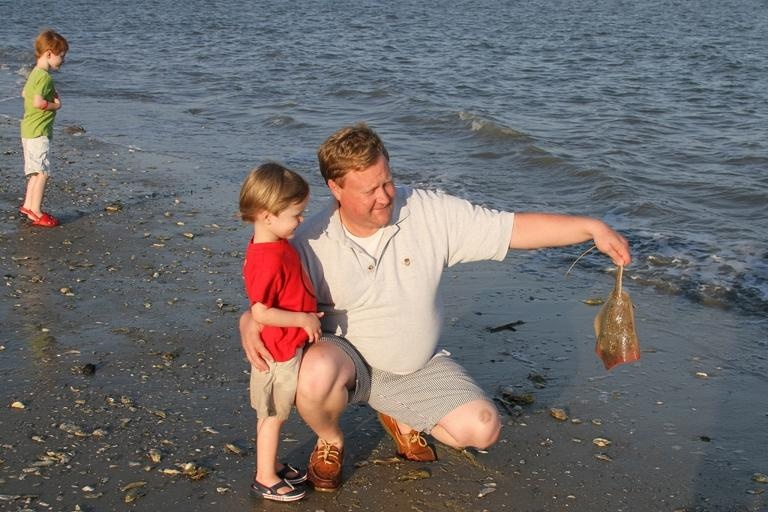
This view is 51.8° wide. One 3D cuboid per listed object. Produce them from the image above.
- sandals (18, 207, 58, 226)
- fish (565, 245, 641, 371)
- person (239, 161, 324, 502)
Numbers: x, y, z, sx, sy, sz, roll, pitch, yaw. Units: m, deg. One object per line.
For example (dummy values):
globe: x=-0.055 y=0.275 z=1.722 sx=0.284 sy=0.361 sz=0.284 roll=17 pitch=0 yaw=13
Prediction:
sandals: x=-3.979 y=-0.444 z=9.126 sx=0.546 sy=0.095 sz=0.214 roll=13 pitch=25 yaw=15
fish: x=1.797 y=0.457 z=6.229 sx=0.701 sy=0.872 sz=0.352 roll=4 pitch=23 yaw=2
person: x=-0.819 y=0.562 z=5.803 sx=0.936 sy=2.234 sz=0.750 roll=10 pitch=27 yaw=8
